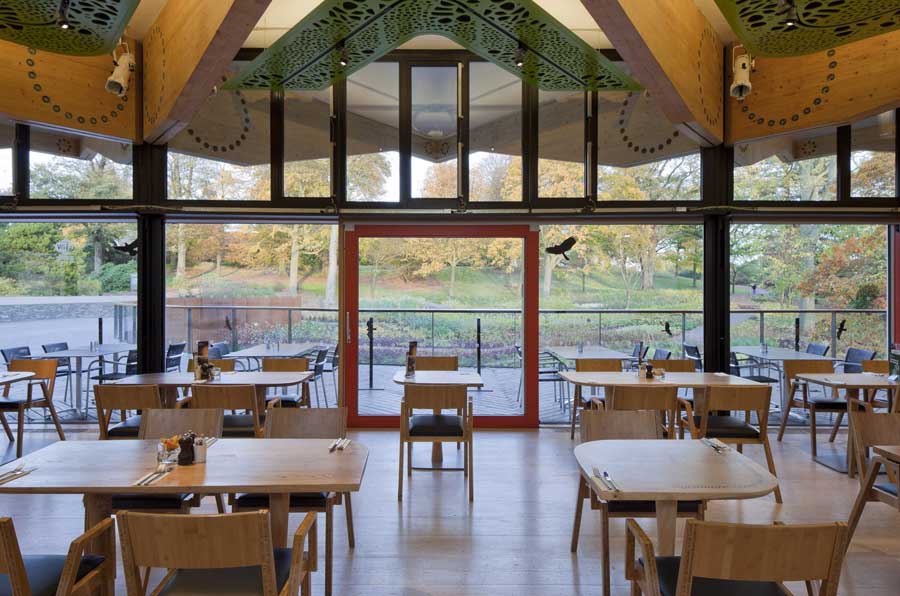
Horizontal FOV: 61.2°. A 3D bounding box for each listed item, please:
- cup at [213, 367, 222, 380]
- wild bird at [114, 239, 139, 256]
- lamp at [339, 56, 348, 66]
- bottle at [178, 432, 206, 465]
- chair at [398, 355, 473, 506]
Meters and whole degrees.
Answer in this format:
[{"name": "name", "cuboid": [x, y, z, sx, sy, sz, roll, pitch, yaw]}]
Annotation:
[{"name": "cup", "cuboid": [-2.680, 0.874, 8.750, 0.149, 0.131, 0.106, 1, -6, -18]}, {"name": "wild bird", "cuboid": [-4.196, -0.657, 9.890, 0.555, 0.190, 0.055, -7, -2, 23]}, {"name": "lamp", "cuboid": [-1.158, -2.576, 8.287, 0.056, 0.048, 0.092, 3, -5, -4]}, {"name": "bottle", "cuboid": [-2.169, 1.268, 6.376, 0.184, 0.260, 0.290, 4, 3, 37]}, {"name": "chair", "cuboid": [-0.136, 1.472, 8.427, 0.817, 1.290, 1.161, 1, 0, -1]}]
